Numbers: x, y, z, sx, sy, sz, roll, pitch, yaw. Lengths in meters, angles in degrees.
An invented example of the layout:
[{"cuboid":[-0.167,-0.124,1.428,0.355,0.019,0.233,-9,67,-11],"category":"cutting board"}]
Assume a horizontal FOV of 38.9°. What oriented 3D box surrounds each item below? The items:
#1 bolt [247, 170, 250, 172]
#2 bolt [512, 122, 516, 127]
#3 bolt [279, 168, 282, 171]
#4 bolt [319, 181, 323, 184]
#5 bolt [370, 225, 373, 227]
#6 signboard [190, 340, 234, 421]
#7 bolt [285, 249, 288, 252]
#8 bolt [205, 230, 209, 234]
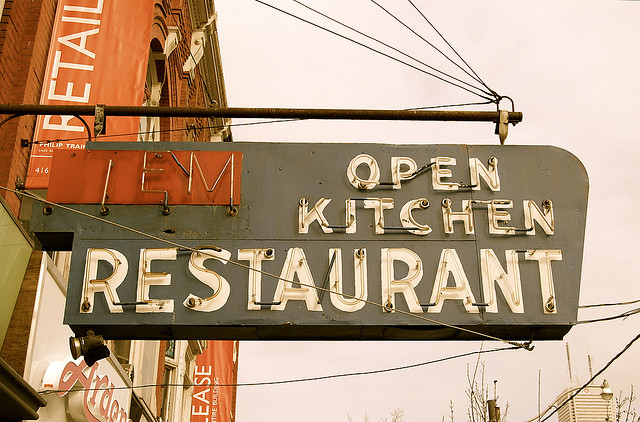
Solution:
[{"cuboid":[-1.092,-0.604,13.928,0.020,0.021,0.012,-7,-42,-13],"category":"bolt"},{"cuboid":[2.925,-1.288,13.649,0.059,0.063,0.015,0,11,-5],"category":"bolt"},{"cuboid":[-0.606,-0.622,13.940,0.031,0.035,0.008,4,-6,-21],"category":"bolt"},{"cuboid":[0.020,-0.418,13.882,0.033,0.036,0.008,2,-9,-12],"category":"bolt"},{"cuboid":[0.785,0.240,13.689,0.023,0.027,0.006,-11,-6,3],"category":"bolt"},{"cuboid":[-4.017,6.388,33.790,1.503,3.024,3.936,-2,-7,-8],"category":"signboard"},{"cuboid":[-0.498,0.593,13.538,0.032,0.037,0.008,2,-5,-3],"category":"bolt"},{"cuboid":[-1.684,0.330,13.610,0.038,0.042,0.022,-2,-17,-4],"category":"bolt"}]
